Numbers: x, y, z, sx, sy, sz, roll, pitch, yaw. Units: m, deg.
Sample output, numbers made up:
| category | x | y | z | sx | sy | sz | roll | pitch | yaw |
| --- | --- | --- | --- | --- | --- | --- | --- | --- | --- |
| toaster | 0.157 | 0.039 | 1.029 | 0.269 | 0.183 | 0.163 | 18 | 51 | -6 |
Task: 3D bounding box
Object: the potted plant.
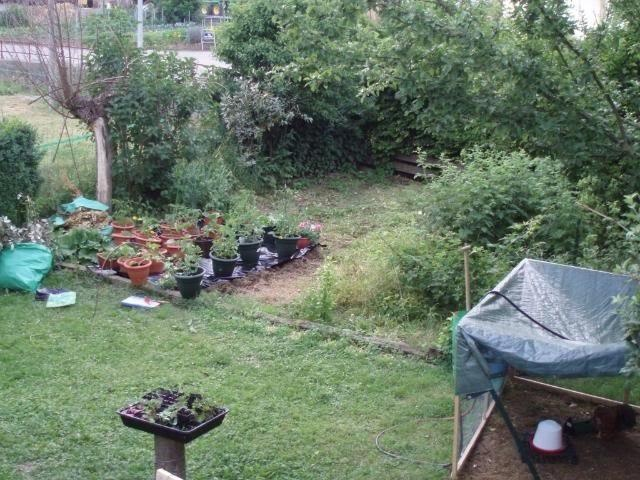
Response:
| category | x | y | z | sx | sy | sz | roll | pitch | yaw |
| --- | --- | --- | --- | --- | --- | --- | --- | --- | --- |
| potted plant | -1.373 | -0.017 | 9.967 | 1.669 | 1.085 | 2.990 | 10 | 9 | 34 |
